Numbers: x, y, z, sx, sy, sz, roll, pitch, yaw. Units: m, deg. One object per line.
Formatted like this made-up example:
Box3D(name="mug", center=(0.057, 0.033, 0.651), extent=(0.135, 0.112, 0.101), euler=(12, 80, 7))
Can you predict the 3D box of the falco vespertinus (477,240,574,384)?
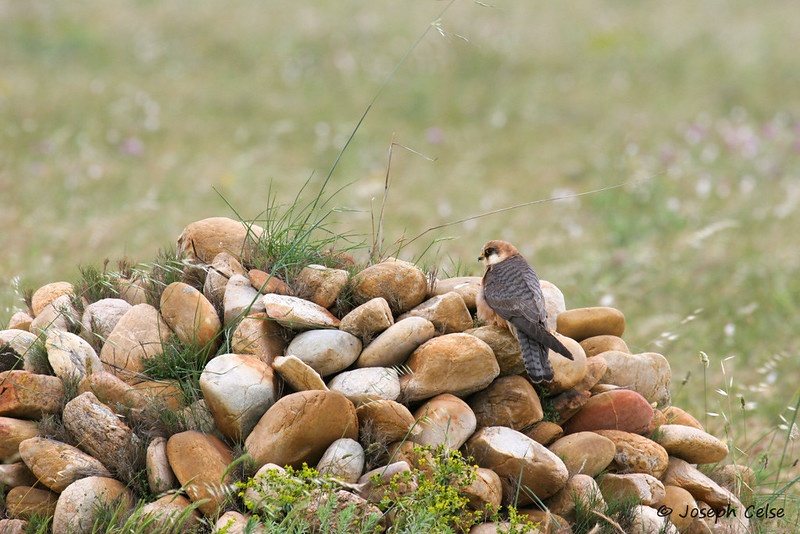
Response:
Box3D(name="falco vespertinus", center=(1.092, 0.415, 10.604), extent=(1.086, 1.233, 0.481), euler=(11, 7, 43))
